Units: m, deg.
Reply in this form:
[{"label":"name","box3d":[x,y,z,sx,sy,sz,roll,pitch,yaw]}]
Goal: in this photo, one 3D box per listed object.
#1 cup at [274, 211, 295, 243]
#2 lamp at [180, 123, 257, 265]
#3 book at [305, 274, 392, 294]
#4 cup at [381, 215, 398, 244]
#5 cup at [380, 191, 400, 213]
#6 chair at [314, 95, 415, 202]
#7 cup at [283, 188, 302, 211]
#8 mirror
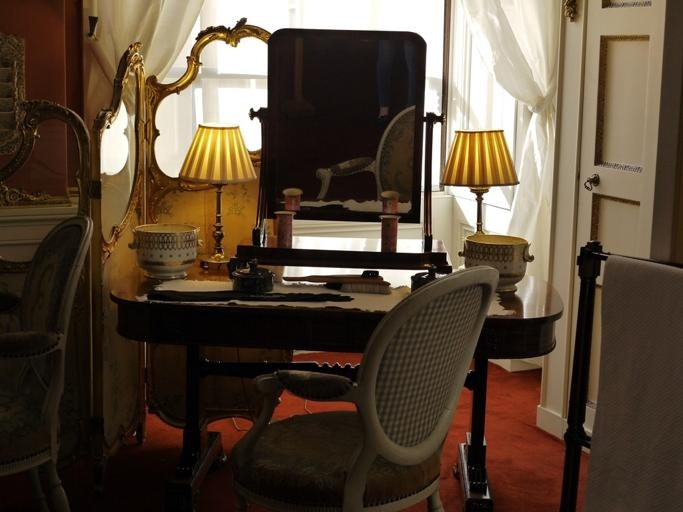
[{"label":"cup","box3d":[-0.218,-0.106,2.367,0.078,0.139,0.079,1,8,0]},{"label":"lamp","box3d":[-0.548,-0.280,2.685,0.302,0.623,0.329,2,12,-6]},{"label":"book","box3d":[0.055,0.105,2.308,0.190,0.063,0.129,-1,1,4]},{"label":"cup","box3d":[0.192,-0.100,2.367,0.068,0.138,0.172,4,8,5]},{"label":"cup","box3d":[0.195,-0.217,2.389,0.069,0.082,0.077,4,16,15]},{"label":"chair","box3d":[0.112,-0.378,2.419,0.404,0.464,0.456,2,22,-9]},{"label":"cup","box3d":[-0.194,-0.230,2.423,0.073,0.097,0.081,0,4,-2]},{"label":"mirror","box3d":[0.028,-0.544,2.413,0.628,0.895,0.037,1,6,0]}]
